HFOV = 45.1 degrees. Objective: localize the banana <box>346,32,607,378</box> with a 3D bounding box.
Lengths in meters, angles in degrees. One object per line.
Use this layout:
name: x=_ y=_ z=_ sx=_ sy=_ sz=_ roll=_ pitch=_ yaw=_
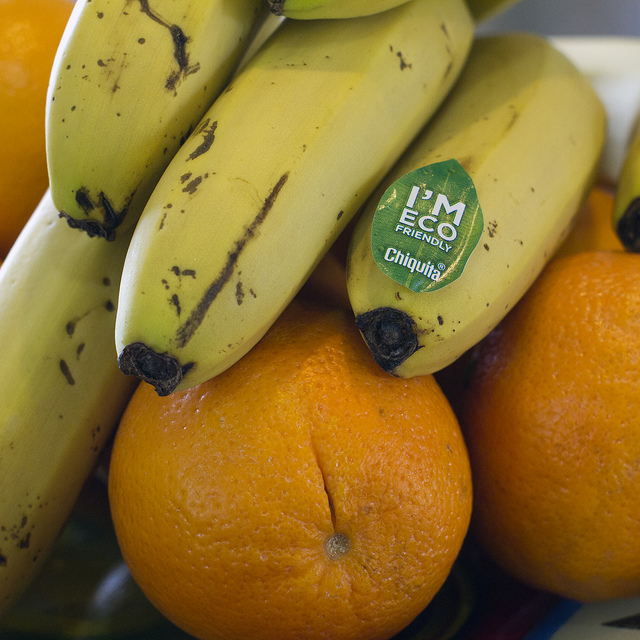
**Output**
banana: x=0.160 y=-0.107 z=0.859 sx=0.201 sy=0.417 sz=0.143 roll=31 pitch=-10 yaw=2
